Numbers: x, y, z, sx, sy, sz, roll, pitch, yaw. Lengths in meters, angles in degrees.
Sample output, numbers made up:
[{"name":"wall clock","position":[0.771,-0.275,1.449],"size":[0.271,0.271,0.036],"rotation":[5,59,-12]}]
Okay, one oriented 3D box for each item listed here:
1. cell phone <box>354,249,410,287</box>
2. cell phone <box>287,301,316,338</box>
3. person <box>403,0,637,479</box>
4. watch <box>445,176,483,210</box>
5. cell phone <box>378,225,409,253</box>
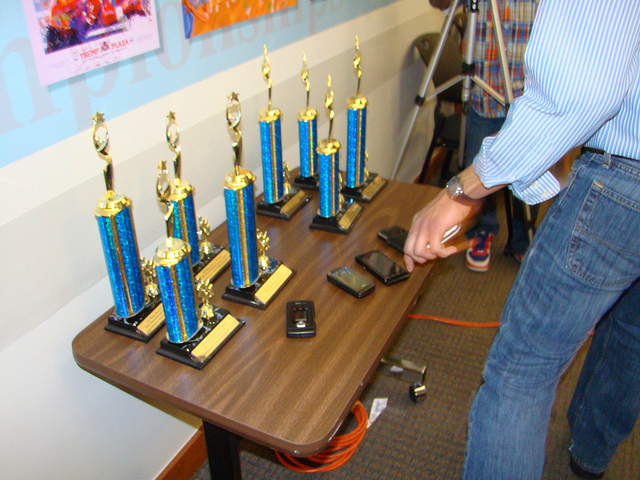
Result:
[{"name":"cell phone","position":[0.162,0.050,1.353],"size":[0.069,0.026,0.123],"rotation":[-22,44,-29]},{"name":"cell phone","position":[-0.045,0.190,1.237],"size":[0.066,0.027,0.094],"rotation":[-3,37,-1]},{"name":"person","position":[0.459,0.058,1.187],"size":[0.474,1.057,0.414],"rotation":[4,33,9]},{"name":"watch","position":[0.346,-0.112,1.270],"size":[0.082,0.037,0.084],"rotation":[22,5,-32]},{"name":"cell phone","position":[0.206,0.000,1.450],"size":[0.074,0.016,0.141],"rotation":[-10,30,-18]}]
